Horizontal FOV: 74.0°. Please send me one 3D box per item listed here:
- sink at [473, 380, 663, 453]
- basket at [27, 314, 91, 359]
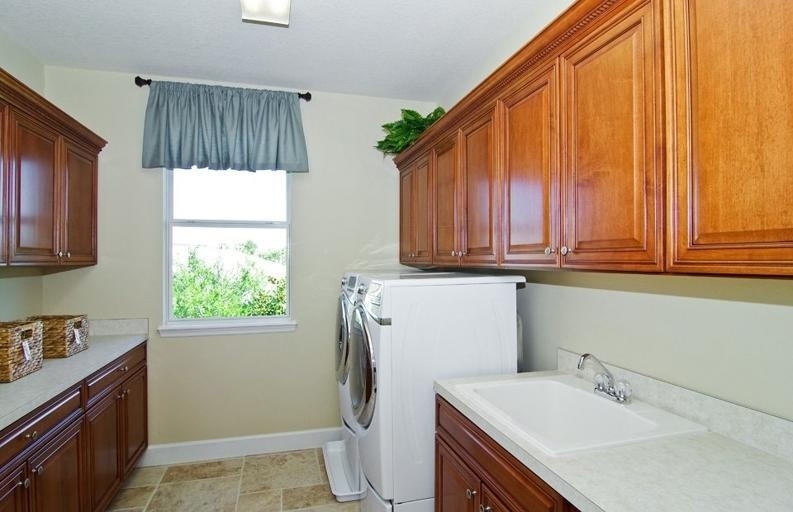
[{"bbox_3d":[0.847,0.846,2.839,0.398,0.182,0.519,-2,0,-17],"label":"sink"},{"bbox_3d":[-2.256,0.523,3.531,0.306,0.188,0.301,0,-4,-12],"label":"basket"}]
